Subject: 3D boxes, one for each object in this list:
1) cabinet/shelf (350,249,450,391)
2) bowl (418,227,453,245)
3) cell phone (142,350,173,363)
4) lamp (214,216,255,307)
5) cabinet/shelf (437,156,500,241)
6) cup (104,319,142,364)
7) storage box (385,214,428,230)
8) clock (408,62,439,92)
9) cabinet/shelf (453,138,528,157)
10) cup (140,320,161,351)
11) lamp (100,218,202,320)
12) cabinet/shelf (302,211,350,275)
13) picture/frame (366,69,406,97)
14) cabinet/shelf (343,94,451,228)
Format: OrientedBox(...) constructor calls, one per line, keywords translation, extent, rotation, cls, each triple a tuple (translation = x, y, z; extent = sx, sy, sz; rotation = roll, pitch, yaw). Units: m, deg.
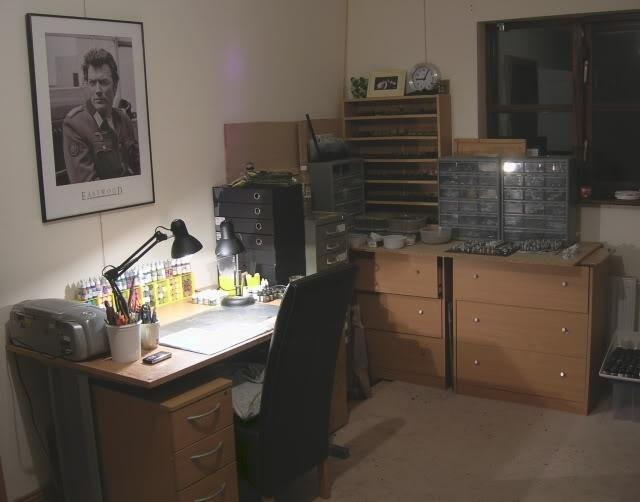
OrientedBox(translation=(0.761, 0.480, 4.341), extent=(0.755, 1.063, 0.503), rotation=(3, 15, 34), cls="cabinet/shelf")
OrientedBox(translation=(0.944, -0.139, 4.283), extent=(0.257, 0.115, 0.276), rotation=(-3, 14, 1), cls="bowl")
OrientedBox(translation=(-0.756, 0.491, 2.463), extent=(0.121, 0.021, 0.135), rotation=(-2, 14, 3), cls="cell phone")
OrientedBox(translation=(-0.520, 0.060, 3.222), extent=(0.204, 0.500, 0.199), rotation=(-5, 7, -3), cls="lamp")
OrientedBox(translation=(1.262, -0.484, 4.381), extent=(0.491, 0.703, 0.362), rotation=(4, 23, 23), cls="cabinet/shelf")
OrientedBox(translation=(-0.904, 0.419, 2.485), extent=(0.166, 0.156, 0.166), rotation=(-5, 3, 0), cls="cup")
OrientedBox(translation=(0.744, -0.241, 4.476), extent=(0.287, 0.106, 0.336), rotation=(2, 15, 19), cls="storage box")
OrientedBox(translation=(0.896, -1.492, 4.501), extent=(0.269, 0.285, 0.092), rotation=(-8, 1, 39), cls="clock")
OrientedBox(translation=(1.386, -0.865, 4.352), extent=(0.144, 0.145, 0.624), rotation=(-13, 17, -37), cls="cabinet/shelf")
OrientedBox(translation=(-0.828, 0.413, 2.628), extent=(0.113, 0.125, 0.117), rotation=(0, 0, 0), cls="cup")
OrientedBox(translation=(-0.874, 0.109, 2.728), extent=(0.499, 0.581, 0.176), rotation=(-13, 37, -31), cls="lamp")
OrientedBox(translation=(-0.012, -0.041, 3.965), extent=(0.285, 0.406, 0.489), rotation=(1, 8, 30), cls="cabinet/shelf")
OrientedBox(translation=(0.602, -1.493, 4.680), extent=(0.294, 0.262, 0.042), rotation=(0, -9, 27), cls="picture/frame")
OrientedBox(translation=(0.684, -0.808, 4.709), extent=(0.702, 1.064, 0.247), rotation=(-2, -6, 5), cls="cabinet/shelf")
